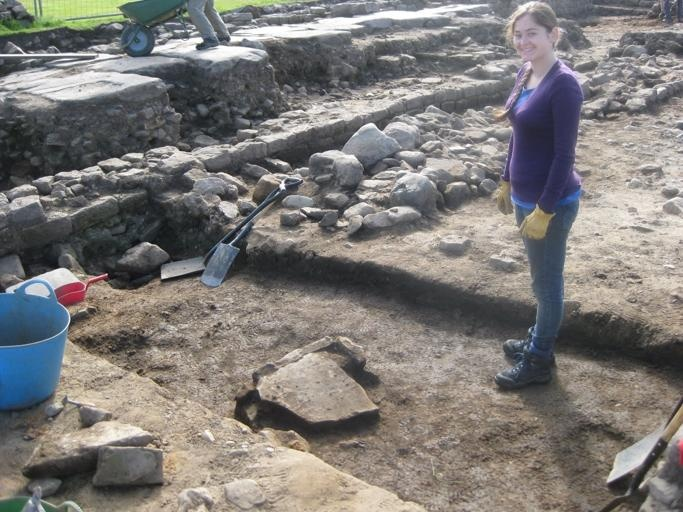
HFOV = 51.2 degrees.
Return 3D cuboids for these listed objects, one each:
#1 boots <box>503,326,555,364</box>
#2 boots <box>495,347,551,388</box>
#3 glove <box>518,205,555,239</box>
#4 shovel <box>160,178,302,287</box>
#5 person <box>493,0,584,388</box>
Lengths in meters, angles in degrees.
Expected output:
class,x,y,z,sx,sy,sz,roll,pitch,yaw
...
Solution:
class,x,y,z,sx,sy,sz,roll,pitch,yaw
boots,1.393,0.648,5.307,0.144,0.266,0.389,5,5,-45
boots,1.333,0.821,5.110,0.514,0.318,0.179,-3,29,10
glove,1.290,-0.223,4.664,0.090,0.222,0.156,3,46,-42
shovel,-0.905,-0.325,6.763,0.552,0.295,1.702,14,37,33
person,1.358,-0.359,4.867,0.542,2.549,0.862,-1,28,12
